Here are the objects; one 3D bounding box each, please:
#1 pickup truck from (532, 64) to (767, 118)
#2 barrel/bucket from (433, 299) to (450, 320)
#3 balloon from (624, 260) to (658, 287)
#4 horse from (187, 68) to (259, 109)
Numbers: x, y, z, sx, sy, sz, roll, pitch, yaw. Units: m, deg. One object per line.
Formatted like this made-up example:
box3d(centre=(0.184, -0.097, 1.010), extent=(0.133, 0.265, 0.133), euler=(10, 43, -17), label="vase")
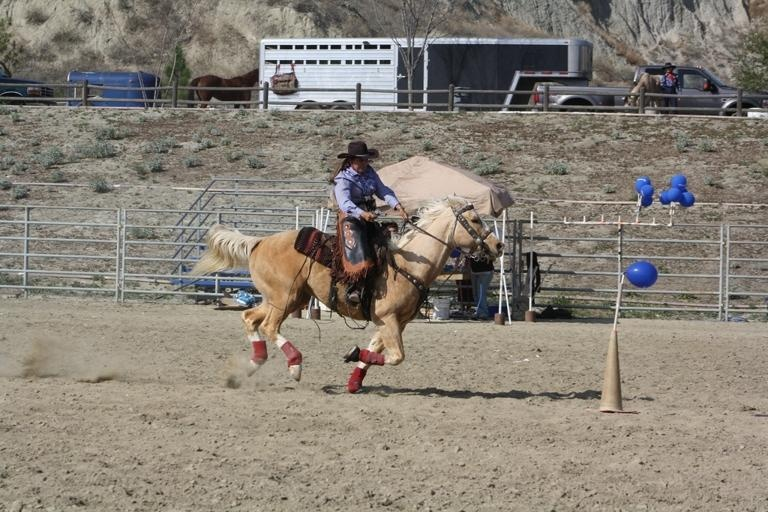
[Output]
box3d(centre=(10.343, -5.720, 50.598), extent=(9.564, 2.452, 3.309), euler=(1, 9, 5), label="pickup truck")
box3d(centre=(1.655, 1.515, 36.806), extent=(0.622, 0.603, 0.565), euler=(0, -1, -6), label="barrel/bucket")
box3d(centre=(6.110, 0.439, 30.711), extent=(0.787, 0.539, 0.556), euler=(9, -23, 13), label="balloon")
box3d(centre=(-7.128, -7.506, 57.451), extent=(3.042, 1.696, 8.536), euler=(0, 8, -6), label="horse")
